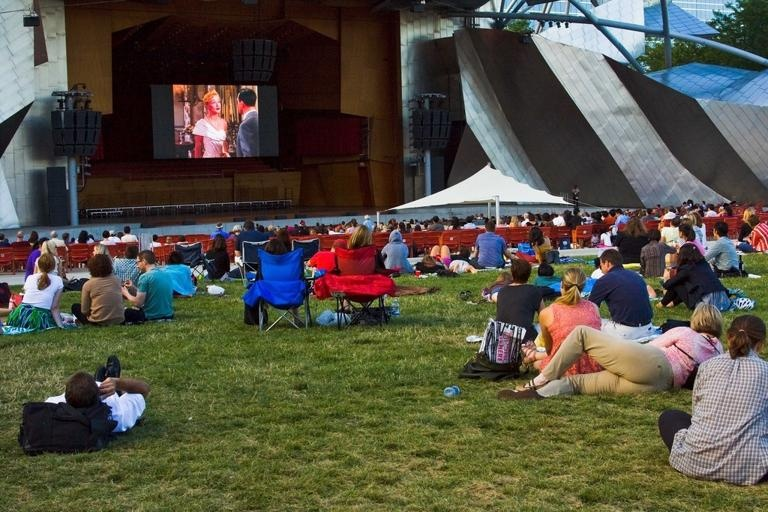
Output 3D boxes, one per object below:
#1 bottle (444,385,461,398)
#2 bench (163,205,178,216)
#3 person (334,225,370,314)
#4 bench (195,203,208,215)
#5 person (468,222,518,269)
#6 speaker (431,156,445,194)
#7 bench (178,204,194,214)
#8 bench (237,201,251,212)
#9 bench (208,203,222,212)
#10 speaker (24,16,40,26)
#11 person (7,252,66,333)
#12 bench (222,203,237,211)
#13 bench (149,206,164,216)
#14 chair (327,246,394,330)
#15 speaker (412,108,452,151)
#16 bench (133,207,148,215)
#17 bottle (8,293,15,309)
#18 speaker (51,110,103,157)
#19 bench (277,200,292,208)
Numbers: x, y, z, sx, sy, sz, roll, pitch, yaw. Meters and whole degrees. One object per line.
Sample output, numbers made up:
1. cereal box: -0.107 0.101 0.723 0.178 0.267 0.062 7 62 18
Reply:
1. bottle: 1.674 3.305 32.062 0.428 0.252 0.312 1 4 -2
2. bench: -10.247 -2.281 63.308 0.685 0.381 1.097 0 4 -9
3. person: -0.773 0.344 35.658 0.889 2.486 1.261 0 -2 -6
4. bench: -8.862 -2.354 63.964 0.659 0.407 1.249 0 4 -9
5. person: 3.245 -0.432 39.800 0.861 1.582 1.768 0 -2 -5
6. speaker: 2.595 -3.935 62.348 0.600 1.782 1.180 1 4 7
7. bench: -9.618 -2.326 63.931 0.486 0.329 0.512 -2 0 20
8. bench: -6.916 -2.522 64.880 0.733 0.438 2.215 1 4 -5
9. bench: -8.288 -2.455 64.571 0.603 0.379 0.644 0 4 -12
10. speaker: -13.202 -8.872 49.387 0.465 0.349 0.473 -2 7 3
11. person: -9.230 0.960 34.877 1.404 2.134 0.638 0 4 -12
12. bench: -7.625 -2.450 64.688 0.607 0.372 0.434 -2 3 -11
13. bench: -10.965 -2.212 63.326 0.545 0.376 0.556 0 -2 -4
14. chair: -0.585 0.900 35.651 1.890 1.999 1.904 0 -7 -7
15. speaker: 2.207 -5.742 59.790 2.005 1.823 2.116 6 8 22
16. bench: -11.559 -2.190 62.733 0.549 0.604 0.431 -2 -3 12
17. bottle: -10.185 1.242 35.910 0.150 0.340 0.326 7 -11 -20
18. speaker: -12.197 -5.002 52.453 1.749 1.701 1.824 0 1 31
19. bench: -5.004 -2.667 66.460 0.434 0.413 0.697 9 5 38
